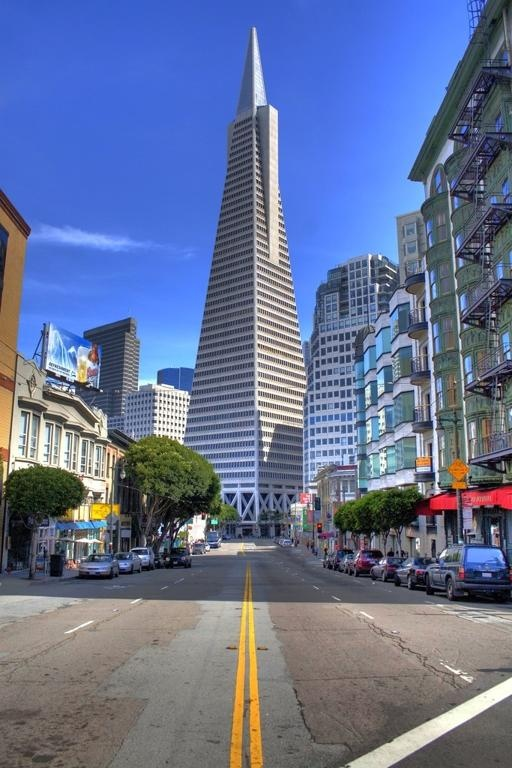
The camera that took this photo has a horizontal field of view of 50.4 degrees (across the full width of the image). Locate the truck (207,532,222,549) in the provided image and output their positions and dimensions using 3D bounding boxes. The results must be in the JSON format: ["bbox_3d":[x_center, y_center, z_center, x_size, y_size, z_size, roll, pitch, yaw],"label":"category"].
[{"bbox_3d":[-9.086,33.820,116.229,2.213,2.711,4.283,-2,-36,0],"label":"truck"}]

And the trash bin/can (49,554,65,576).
[{"bbox_3d":[-11.926,10.838,32.301,0.796,1.243,0.721,-1,-13,-2],"label":"trash bin/can"}]
